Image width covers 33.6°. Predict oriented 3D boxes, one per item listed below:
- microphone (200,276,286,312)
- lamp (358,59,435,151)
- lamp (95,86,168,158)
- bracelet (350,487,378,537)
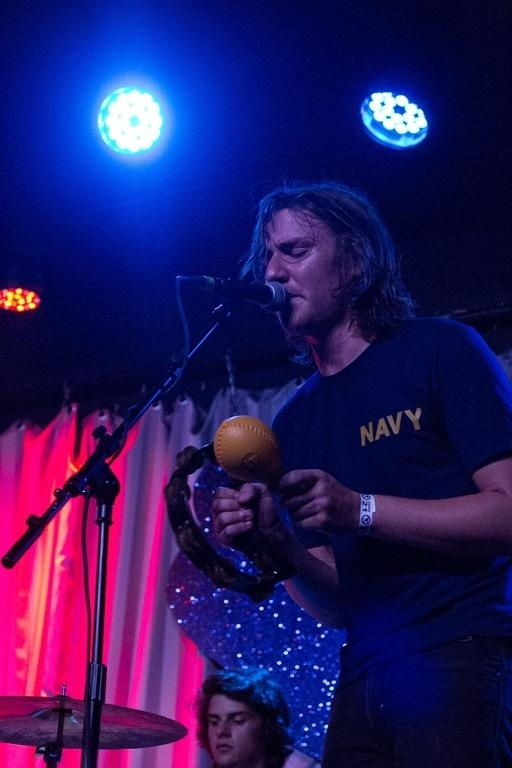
[{"bbox_3d":[-0.021,-0.282,2.681,0.351,0.093,0.093,7,-3,-26],"label":"microphone"},{"bbox_3d":[0.584,-1.122,3.607,0.259,0.158,0.268,-12,-22,23],"label":"lamp"},{"bbox_3d":[-0.533,-1.122,3.642,0.282,0.139,0.295,5,-21,-21],"label":"lamp"},{"bbox_3d":[0.267,0.313,2.061,0.031,0.083,0.070,8,-1,0],"label":"bracelet"}]
